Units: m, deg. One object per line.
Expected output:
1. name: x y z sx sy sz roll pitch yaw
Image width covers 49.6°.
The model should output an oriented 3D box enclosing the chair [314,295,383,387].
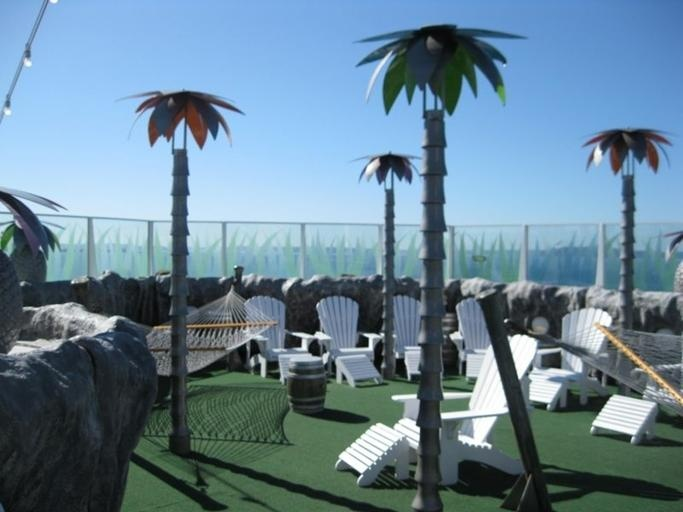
1. chair: 0.139 1.607 13.703 1.104 1.582 2.039 1 -1 -16

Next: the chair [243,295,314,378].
1. chair: -1.259 1.529 13.877 1.045 1.586 1.409 -1 0 -29

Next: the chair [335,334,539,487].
1. chair: 1.338 1.937 9.678 2.498 2.172 1.659 3 -5 -15

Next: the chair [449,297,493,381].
1. chair: 2.532 1.613 14.016 0.814 1.178 1.172 -9 4 17

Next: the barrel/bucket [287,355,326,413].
1. barrel/bucket: -0.522 1.988 11.306 0.624 0.960 0.677 0 -4 0

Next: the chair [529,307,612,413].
1. chair: 3.647 1.665 12.157 1.699 1.671 0.972 0 -3 -42

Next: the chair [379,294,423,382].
1. chair: 1.337 1.533 14.433 0.717 1.272 0.902 2 10 2
